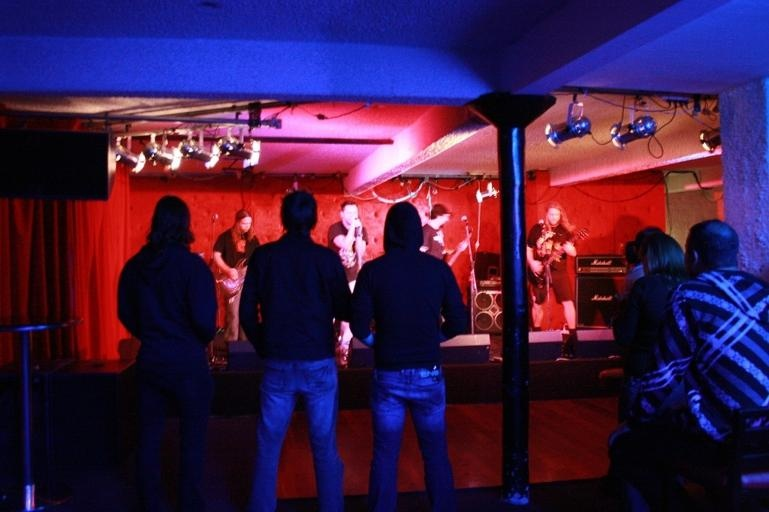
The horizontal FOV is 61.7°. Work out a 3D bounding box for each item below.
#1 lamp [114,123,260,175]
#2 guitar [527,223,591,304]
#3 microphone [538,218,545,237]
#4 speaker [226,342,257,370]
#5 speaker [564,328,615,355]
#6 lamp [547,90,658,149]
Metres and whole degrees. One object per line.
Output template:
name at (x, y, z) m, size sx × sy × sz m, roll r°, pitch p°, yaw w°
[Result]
lamp at (-2.114, -1.228, 7.258) m, size 1.115 × 0.373 × 1.015 m, roll -3°, pitch 0°, yaw -19°
guitar at (2.544, 0.055, 9.725) m, size 0.748 × 1.220 × 0.381 m, roll 5°, pitch 10°, yaw 23°
microphone at (2.350, -0.438, 9.589) m, size 0.059 × 0.185 × 0.136 m, roll 7°, pitch -23°, yaw 5°
speaker at (-1.395, 0.997, 6.475) m, size 0.401 × 0.368 × 0.289 m, roll 1°, pitch -11°, yaw -11°
speaker at (2.171, 0.909, 6.812) m, size 0.516 × 0.338 × 0.271 m, roll 0°, pitch -19°, yaw -5°
lamp at (2.156, -1.321, 6.349) m, size 0.941 × 0.477 × 1.720 m, roll 0°, pitch 1°, yaw 24°
